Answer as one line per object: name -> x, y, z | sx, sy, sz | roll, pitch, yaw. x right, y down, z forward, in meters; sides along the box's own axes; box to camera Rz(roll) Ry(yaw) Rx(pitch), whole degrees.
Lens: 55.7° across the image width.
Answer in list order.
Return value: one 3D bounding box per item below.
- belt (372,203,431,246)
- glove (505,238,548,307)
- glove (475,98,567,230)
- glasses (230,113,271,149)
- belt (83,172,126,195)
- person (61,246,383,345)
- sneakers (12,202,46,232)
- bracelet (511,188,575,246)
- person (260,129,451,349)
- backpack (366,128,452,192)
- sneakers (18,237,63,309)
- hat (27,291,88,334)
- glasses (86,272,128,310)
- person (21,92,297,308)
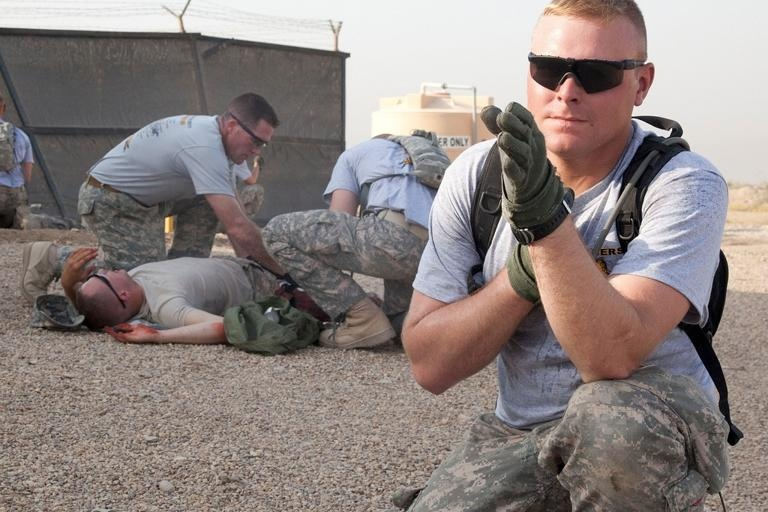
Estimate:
belt -> 0.107, -0.195, 4.397 | 0.266, 0.134, 0.193 | 23, 12, 20
glove -> 0.470, 0.061, 2.498 | 0.153, 0.179, 0.101 | 9, -11, -22
glove -> 0.442, -0.281, 2.302 | 0.292, 0.398, 0.127 | 0, 16, 0
glasses -> -0.938, -0.891, 5.017 | 0.230, 0.062, 0.225 | 49, 7, 26
belt -> -1.992, -0.523, 5.163 | 0.193, 0.048, 0.170 | 22, -5, 1
person -> -1.199, 0.232, 5.207 | 1.296, 0.521, 2.106 | 0, 2, 43
sneakers -> -3.644, -0.399, 7.461 | 0.250, 0.108, 0.312 | 7, 18, -26
bracelet -> 0.503, -0.123, 2.331 | 0.153, 0.152, 0.091 | -14, 60, -43
person -> -0.083, -0.162, 4.744 | 1.184, 1.536, 1.093 | 14, -22, -18
backpack -> 0.189, -0.563, 4.729 | 0.359, 0.217, 0.528 | 8, 32, -31
sneakers -> -2.341, 0.104, 5.073 | 0.262, 0.554, 0.197 | 8, -13, 6
hat -> -2.045, 0.366, 4.561 | 0.284, 0.119, 0.259 | 25, 16, 19
glasses -> -1.699, 0.206, 4.538 | 0.227, 0.064, 0.186 | 48, -20, -13
person -> -1.628, -0.419, 5.233 | 1.974, 1.295, 1.159 | -4, 13, -20
